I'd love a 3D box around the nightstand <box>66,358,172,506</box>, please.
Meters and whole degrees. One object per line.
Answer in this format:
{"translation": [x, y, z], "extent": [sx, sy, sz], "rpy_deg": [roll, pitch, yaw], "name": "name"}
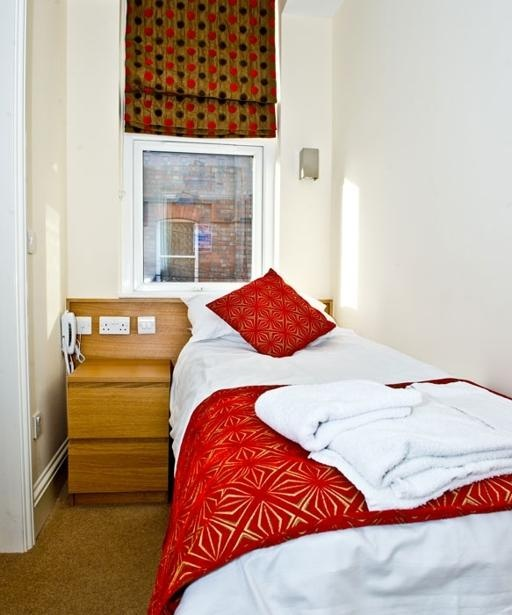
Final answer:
{"translation": [-0.578, 0.515, 2.437], "extent": [0.430, 0.549, 0.535], "rpy_deg": [1, 7, -10], "name": "nightstand"}
